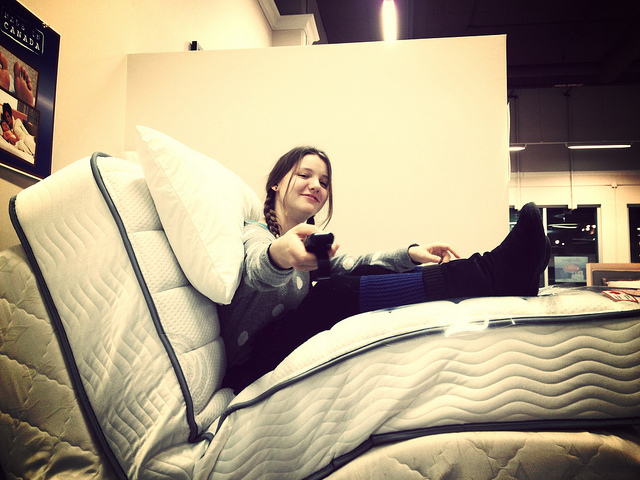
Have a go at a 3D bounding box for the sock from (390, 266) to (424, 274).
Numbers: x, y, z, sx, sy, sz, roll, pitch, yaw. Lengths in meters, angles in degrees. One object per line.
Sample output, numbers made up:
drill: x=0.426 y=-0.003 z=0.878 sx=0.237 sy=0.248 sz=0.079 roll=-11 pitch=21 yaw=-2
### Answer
sock: x=0.282 y=0.092 z=1.581 sx=0.052 sy=0.020 sz=0.053 roll=-3 pitch=3 yaw=32

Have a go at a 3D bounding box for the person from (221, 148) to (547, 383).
person: x=0.165 y=-0.056 z=1.738 sx=0.936 sy=0.716 sz=0.660 roll=-17 pitch=-28 yaw=17

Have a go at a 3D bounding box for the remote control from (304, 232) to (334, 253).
remote control: x=-0.005 y=0.008 z=1.374 sx=0.076 sy=0.053 sz=0.051 roll=0 pitch=1 yaw=0

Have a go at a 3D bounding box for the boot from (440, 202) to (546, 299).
boot: x=0.503 y=0.041 z=1.476 sx=0.261 sy=0.282 sz=0.159 roll=7 pitch=2 yaw=33
